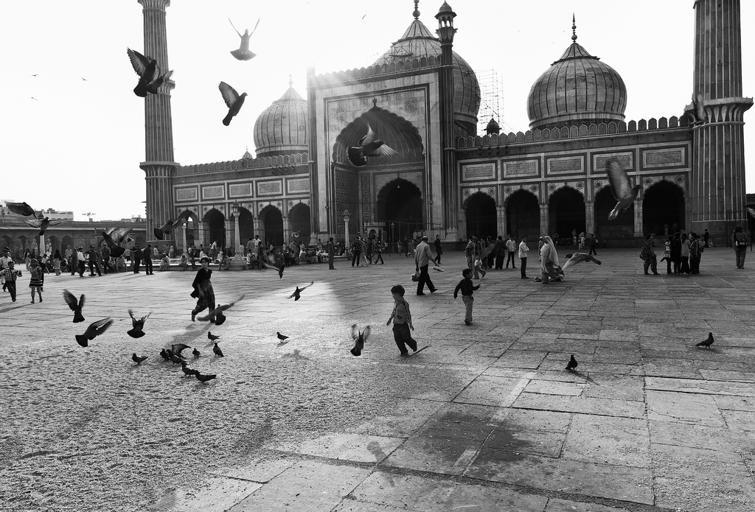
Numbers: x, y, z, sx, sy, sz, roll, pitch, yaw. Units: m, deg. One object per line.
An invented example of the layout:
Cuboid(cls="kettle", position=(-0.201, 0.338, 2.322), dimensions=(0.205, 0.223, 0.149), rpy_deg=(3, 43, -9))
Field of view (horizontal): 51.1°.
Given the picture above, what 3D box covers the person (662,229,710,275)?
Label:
Cuboid(cls="person", position=(7.029, -0.080, 18.546), dimensions=(1.219, 1.224, 1.049), rpy_deg=(-1, 0, 29))
